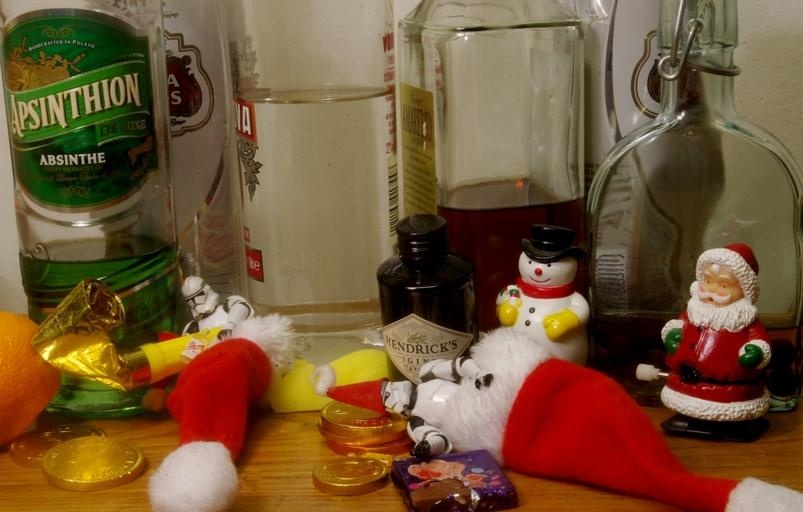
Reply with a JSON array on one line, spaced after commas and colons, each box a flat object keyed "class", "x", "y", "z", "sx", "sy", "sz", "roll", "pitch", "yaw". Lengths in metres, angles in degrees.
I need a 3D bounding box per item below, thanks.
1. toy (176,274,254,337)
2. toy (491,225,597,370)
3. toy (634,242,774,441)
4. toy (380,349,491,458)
[{"class": "toy", "x": -0.208, "y": 0.056, "z": 0.788, "sx": 0.069, "sy": 0.030, "sz": 0.068, "roll": 17, "pitch": 62, "yaw": -7}, {"class": "toy", "x": 0.153, "y": 0.046, "z": 0.769, "sx": 0.108, "sy": 0.158, "sz": 0.096, "roll": 10, "pitch": 18, "yaw": 38}, {"class": "toy", "x": 0.307, "y": 0.074, "z": 0.690, "sx": 0.101, "sy": 0.163, "sz": 0.057, "roll": 6, "pitch": 21, "yaw": 23}, {"class": "toy", "x": 0.033, "y": 0.143, "z": 0.700, "sx": 0.096, "sy": 0.082, "sz": 0.076, "roll": -7, "pitch": 20, "yaw": -14}]
